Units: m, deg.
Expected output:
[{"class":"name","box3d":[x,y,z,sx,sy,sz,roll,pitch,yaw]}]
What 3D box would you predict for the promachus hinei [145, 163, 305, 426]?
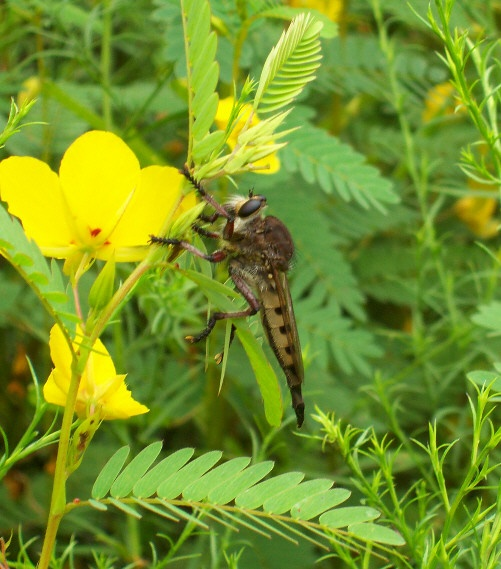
[{"class":"promachus hinei","box3d":[0.024,0.004,0.993,0.134,0.344,0.294,-19,24,-11]}]
